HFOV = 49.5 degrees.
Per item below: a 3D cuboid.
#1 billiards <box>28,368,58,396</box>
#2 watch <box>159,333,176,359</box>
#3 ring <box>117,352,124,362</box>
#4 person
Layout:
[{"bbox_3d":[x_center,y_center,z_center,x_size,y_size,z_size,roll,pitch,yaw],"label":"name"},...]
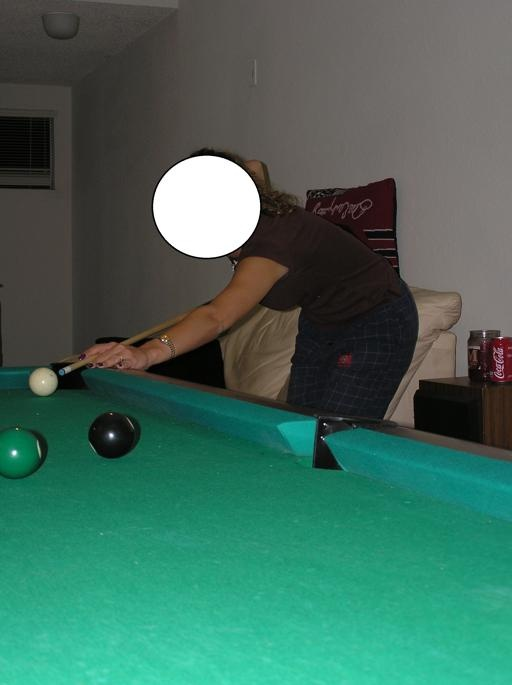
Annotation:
[{"bbox_3d":[-0.600,0.113,1.582,0.085,0.086,0.079,0,6,10],"label":"billiards"},{"bbox_3d":[-0.222,0.009,1.463,0.047,0.055,0.029,18,35,33],"label":"watch"},{"bbox_3d":[-0.378,0.042,1.560,0.008,0.021,0.023,-5,5,-36],"label":"ring"},{"bbox_3d":[0.121,-0.134,1.857,0.806,0.823,1.170,-5,13,-21],"label":"person"}]
